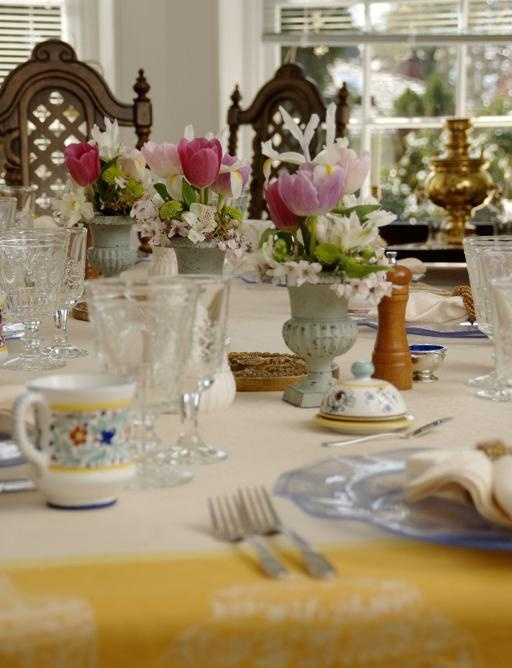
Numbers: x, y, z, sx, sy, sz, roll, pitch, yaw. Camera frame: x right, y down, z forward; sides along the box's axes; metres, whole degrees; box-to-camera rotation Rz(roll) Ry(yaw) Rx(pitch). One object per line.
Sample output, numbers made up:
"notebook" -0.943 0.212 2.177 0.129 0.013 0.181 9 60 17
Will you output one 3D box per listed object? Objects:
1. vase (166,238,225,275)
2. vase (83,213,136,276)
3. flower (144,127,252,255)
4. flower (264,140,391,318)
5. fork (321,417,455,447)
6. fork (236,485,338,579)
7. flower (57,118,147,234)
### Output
"vase" -0.076 -0.100 0.809 0.086 0.048 0.071 0 4 -4
"vase" -0.290 -0.184 1.302 0.143 0.123 0.131 0 1 -7
"flower" -0.062 -0.188 0.828 0.175 0.184 0.169 1 10 4
"flower" 0.081 -0.111 0.696 0.177 0.171 0.185 -9 1 -10
"fork" 0.120 0.092 0.577 0.127 0.015 0.017 -3 -1 -17
"fork" 0.021 0.114 0.365 0.018 0.012 0.093 2 8 -18
"flower" -0.291 -0.293 1.180 0.230 0.206 0.227 -1 10 0
